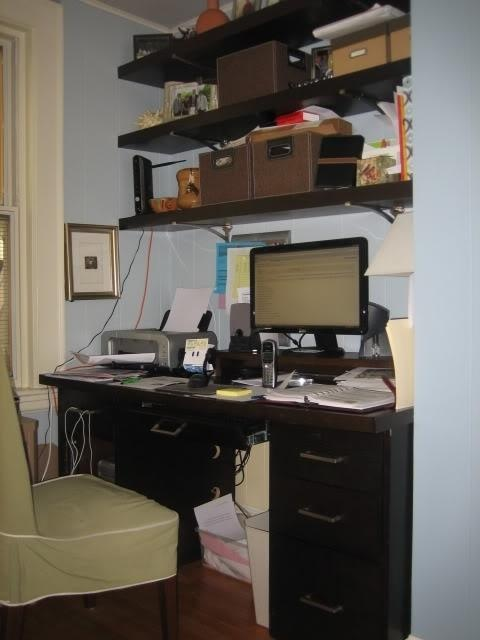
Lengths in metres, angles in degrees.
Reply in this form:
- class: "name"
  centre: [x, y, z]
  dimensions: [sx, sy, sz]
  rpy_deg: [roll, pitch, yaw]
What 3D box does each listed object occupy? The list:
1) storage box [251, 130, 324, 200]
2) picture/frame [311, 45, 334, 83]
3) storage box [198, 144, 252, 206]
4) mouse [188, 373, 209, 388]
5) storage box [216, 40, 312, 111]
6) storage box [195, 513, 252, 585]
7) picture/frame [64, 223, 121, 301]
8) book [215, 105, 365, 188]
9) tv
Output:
- class: "storage box"
  centre: [0.116, -0.557, 1.982]
  dimensions: [0.255, 0.196, 0.150]
  rpy_deg: [-16, 21, -26]
- class: "picture/frame"
  centre: [0.283, -0.896, 1.908]
  dimensions: [0.056, 0.141, 0.130]
  rpy_deg: [1, 6, 2]
- class: "storage box"
  centre: [-0.008, -0.571, 2.224]
  dimensions: [0.258, 0.204, 0.256]
  rpy_deg: [-2, 6, 23]
- class: "mouse"
  centre: [-0.136, 0.194, 1.778]
  dimensions: [0.034, 0.040, 0.054]
  rpy_deg: [-7, -15, 26]
- class: "storage box"
  centre: [0.113, -0.873, 2.095]
  dimensions: [0.250, 0.173, 0.255]
  rpy_deg: [5, 13, 37]
- class: "storage box"
  centre: [-0.029, 0.830, 2.025]
  dimensions: [0.233, 0.177, 0.154]
  rpy_deg: [4, 22, 20]
- class: "picture/frame"
  centre: [-0.693, -0.266, 2.596]
  dimensions: [0.013, 0.343, 0.266]
  rpy_deg: [5, 8, 43]
- class: "book"
  centre: [0.211, -0.546, 1.875]
  dimensions: [0.259, 0.142, 0.344]
  rpy_deg: [-1, 8, 40]
- class: "tv"
  centre: [0.266, -0.074, 2.060]
  dimensions: [0.438, 0.404, 0.159]
  rpy_deg: [-1, 1, 29]
